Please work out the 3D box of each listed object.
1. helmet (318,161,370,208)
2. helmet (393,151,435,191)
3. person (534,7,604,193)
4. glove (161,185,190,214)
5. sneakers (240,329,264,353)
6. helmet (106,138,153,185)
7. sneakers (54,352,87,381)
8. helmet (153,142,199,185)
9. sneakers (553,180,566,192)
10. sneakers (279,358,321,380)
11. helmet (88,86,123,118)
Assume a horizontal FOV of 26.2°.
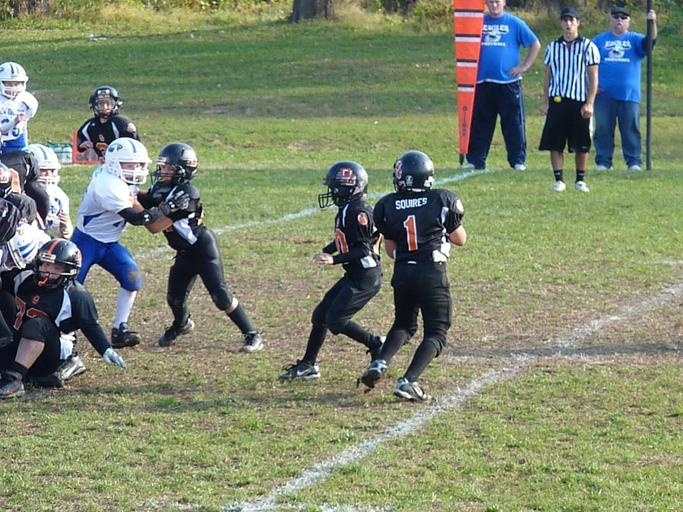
[{"bbox_3d":[0.052,-0.781,15.698,0.599,0.472,0.440,0,10,4],"label":"helmet"},{"bbox_3d":[0.767,-0.898,15.290,0.366,0.354,0.453,0,12,-3],"label":"helmet"},{"bbox_3d":[3.237,-2.175,20.498,0.751,2.564,0.483,5,12,23],"label":"person"},{"bbox_3d":[-1.817,-0.579,15.883,0.280,0.250,0.242,1,11,5],"label":"glove"},{"bbox_3d":[-1.006,0.954,16.194,0.235,0.258,0.613,-1,-4,2],"label":"sneakers"},{"bbox_3d":[-2.409,-1.082,16.142,0.555,0.420,0.412,28,18,39],"label":"helmet"},{"bbox_3d":[-2.908,1.177,15.467,0.140,0.191,0.417,18,18,16],"label":"sneakers"},{"bbox_3d":[-1.851,-1.040,16.116,0.521,0.374,0.390,0,19,-11],"label":"helmet"},{"bbox_3d":[3.136,-0.985,20.772,0.199,0.159,0.402,-1,2,10],"label":"sneakers"},{"bbox_3d":[-0.426,1.230,15.512,0.523,0.227,0.169,1,-1,-4],"label":"sneakers"},{"bbox_3d":[-3.065,-1.970,18.720,0.386,0.322,0.411,-4,14,-6],"label":"helmet"}]
